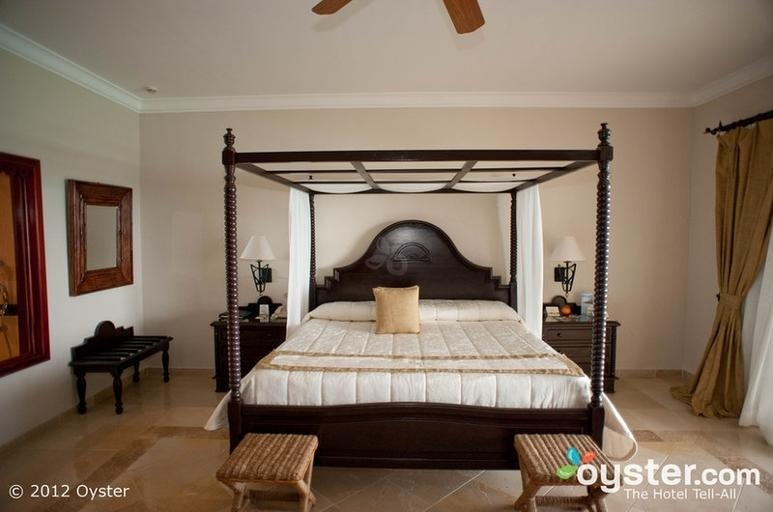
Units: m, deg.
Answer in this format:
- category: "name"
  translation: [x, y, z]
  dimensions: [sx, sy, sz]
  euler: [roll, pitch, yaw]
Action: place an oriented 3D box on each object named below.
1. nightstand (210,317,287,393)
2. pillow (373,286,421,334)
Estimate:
- category: "nightstand"
  translation: [-1.666, 1.221, 6.488]
  dimensions: [1.297, 1.059, 0.507]
  euler: [0, 1, -3]
- category: "pillow"
  translation: [0.128, 0.715, 6.738]
  dimensions: [0.594, 0.531, 0.208]
  euler: [0, -19, 2]
